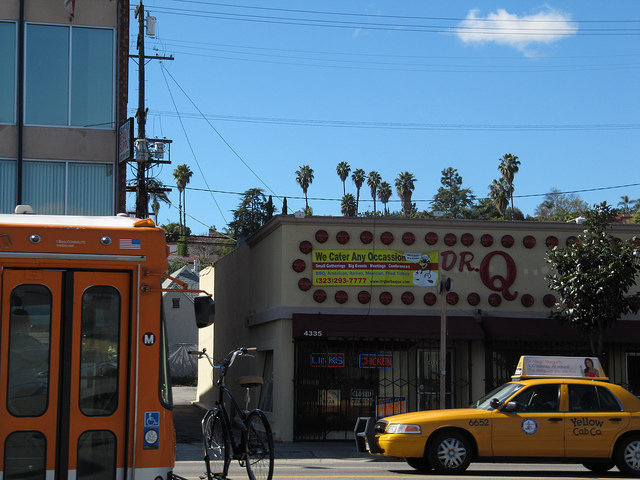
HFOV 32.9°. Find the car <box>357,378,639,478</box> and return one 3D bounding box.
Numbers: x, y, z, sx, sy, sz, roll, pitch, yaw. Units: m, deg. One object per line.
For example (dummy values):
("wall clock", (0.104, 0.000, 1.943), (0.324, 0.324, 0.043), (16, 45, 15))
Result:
("car", (4.002, 3.947, 23.031), (5.216, 2.061, 1.498), (0, -7, -4))
